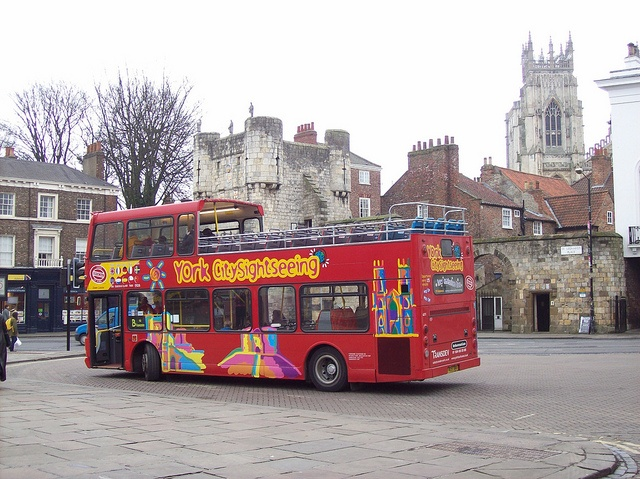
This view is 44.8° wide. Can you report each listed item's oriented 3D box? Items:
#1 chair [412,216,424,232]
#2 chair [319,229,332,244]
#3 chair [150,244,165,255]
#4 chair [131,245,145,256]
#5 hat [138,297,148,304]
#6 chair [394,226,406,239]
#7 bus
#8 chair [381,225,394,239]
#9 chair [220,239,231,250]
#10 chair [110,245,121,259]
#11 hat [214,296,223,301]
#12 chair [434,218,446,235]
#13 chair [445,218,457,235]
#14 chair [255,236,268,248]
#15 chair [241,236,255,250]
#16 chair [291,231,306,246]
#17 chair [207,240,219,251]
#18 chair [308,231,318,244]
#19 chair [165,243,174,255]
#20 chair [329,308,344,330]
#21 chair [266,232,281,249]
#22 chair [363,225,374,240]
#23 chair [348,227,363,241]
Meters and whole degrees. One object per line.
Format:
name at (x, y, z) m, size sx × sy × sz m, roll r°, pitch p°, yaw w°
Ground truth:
chair at (2.388, -0.363, 19.059) m, size 0.260 × 0.363 × 0.378 m, roll 0°, pitch 18°, yaw 8°
chair at (0.175, -0.063, 20.064) m, size 0.302 × 0.437 × 0.520 m, roll -2°, pitch -5°, yaw 0°
chair at (-4.656, 0.300, 22.329) m, size 0.337 × 0.343 × 0.351 m, roll 0°, pitch -1°, yaw 33°
chair at (-5.337, 0.336, 22.737) m, size 0.357 × 0.352 × 0.286 m, roll 2°, pitch 0°, yaw -27°
hat at (-5.132, 1.767, 22.567) m, size 0.171 × 0.316 × 0.182 m, roll -7°, pitch 2°, yaw -28°
chair at (1.982, -0.140, 19.141) m, size 0.237 × 0.171 × 0.240 m, roll 4°, pitch 1°, yaw 28°
bus at (-1.864, 1.471, 22.437) m, size 12.191 × 5.478 × 3.442 m, roll -5°, pitch -6°, yaw 28°
chair at (1.666, -0.176, 19.359) m, size 0.356 × 0.404 × 0.337 m, roll -2°, pitch -5°, yaw 4°
chair at (-2.588, 0.159, 21.553) m, size 0.303 × 0.322 × 0.313 m, roll -2°, pitch -5°, yaw 19°
chair at (-6.021, 0.401, 23.085) m, size 0.326 × 0.486 × 0.285 m, roll -1°, pitch -4°, yaw 5°
hat at (-2.794, 1.603, 21.276) m, size 0.144 × 0.034 × 0.138 m, roll 22°, pitch -46°, yaw -13°
chair at (3.022, -0.341, 19.656) m, size 0.323 × 0.324 × 0.330 m, roll 1°, pitch 0°, yaw 1°
chair at (3.406, -0.300, 20.199) m, size 0.378 × 0.423 × 0.305 m, roll 8°, pitch -7°, yaw -21°
chair at (-1.582, 0.124, 20.956) m, size 0.344 × 0.343 × 0.251 m, roll 0°, pitch -10°, yaw 7°
chair at (-1.955, 0.115, 21.142) m, size 0.332 × 0.328 × 0.189 m, roll -3°, pitch -12°, yaw 28°
chair at (-0.555, -0.024, 20.372) m, size 0.414 × 0.450 × 0.254 m, roll -5°, pitch -5°, yaw 26°
chair at (-2.987, 0.183, 21.695) m, size 0.188 × 0.310 × 0.310 m, roll 5°, pitch 4°, yaw -6°
chair at (-0.163, -0.023, 20.108) m, size 0.313 × 0.351 × 0.204 m, roll 6°, pitch 0°, yaw 11°
chair at (-4.284, 0.277, 22.121) m, size 0.282 × 0.290 × 0.161 m, roll -5°, pitch -10°, yaw 30°
chair at (0.415, 2.017, 19.681) m, size 0.420 × 0.820 × 0.469 m, roll 1°, pitch -2°, yaw 5°
chair at (-1.188, 0.054, 20.810) m, size 0.481 × 0.494 × 0.378 m, roll 2°, pitch 4°, yaw 25°
chair at (1.229, -0.119, 19.702) m, size 0.281 × 0.398 × 0.611 m, roll -2°, pitch -6°, yaw 3°
chair at (0.915, -0.114, 19.791) m, size 0.348 × 0.437 × 0.503 m, roll -2°, pitch -5°, yaw 2°
